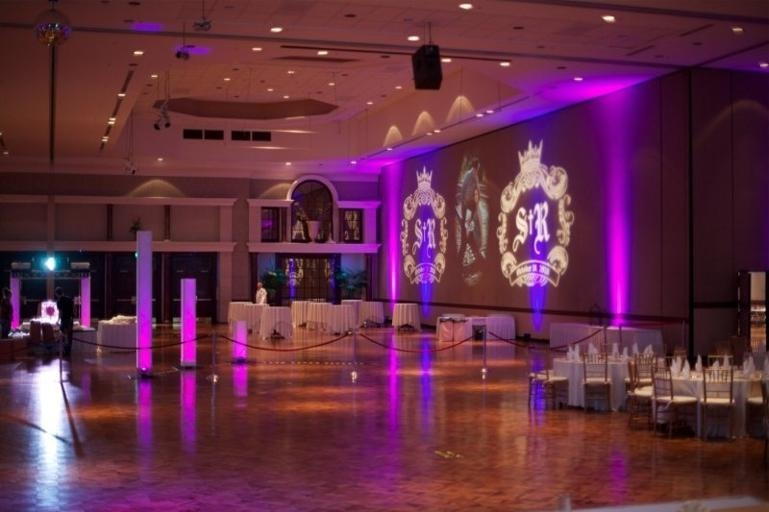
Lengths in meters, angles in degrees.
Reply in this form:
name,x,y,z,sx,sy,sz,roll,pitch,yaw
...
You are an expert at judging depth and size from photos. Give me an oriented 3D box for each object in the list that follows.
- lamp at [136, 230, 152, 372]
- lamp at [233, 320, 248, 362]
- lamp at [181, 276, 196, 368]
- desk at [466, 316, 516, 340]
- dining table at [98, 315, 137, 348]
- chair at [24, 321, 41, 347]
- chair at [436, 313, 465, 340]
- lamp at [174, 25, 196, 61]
name,x,y,z,sx,sy,sz,roll,pitch,yaw
lamp,-5.073,1.001,17.137,0.272,3.020,0.406,1,8,-9
lamp,-3.525,2.086,19.811,0.382,1.002,1.144,1,7,-10
lamp,-4.433,1.539,18.324,0.295,1.998,0.568,0,8,-17
desk,3.226,2.049,23.883,0.848,0.532,0.850,0,-4,-9
dining table,-7.068,2.039,21.411,0.994,0.573,0.988,2,-2,-26
chair,-8.681,1.934,20.129,0.332,0.496,0.886,-1,8,-24
chair,2.050,2.221,24.779,0.738,0.658,0.745,1,-2,-3
lamp,-4.250,-4.412,17.165,0.455,0.554,0.449,-1,11,-22
